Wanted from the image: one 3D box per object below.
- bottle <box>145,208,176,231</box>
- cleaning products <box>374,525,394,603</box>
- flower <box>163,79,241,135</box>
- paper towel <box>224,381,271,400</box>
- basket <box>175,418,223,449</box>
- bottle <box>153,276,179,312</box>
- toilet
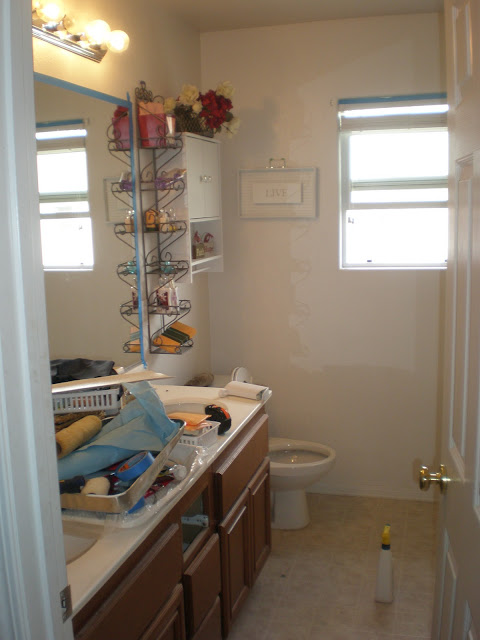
[{"bbox_3d":[-0.364,-0.439,2.306,0.128,0.095,0.061,-3,8,-10],"label":"bottle"},{"bbox_3d":[0.619,1.019,2.252,0.079,0.394,0.236,0,8,15],"label":"cleaning products"},{"bbox_3d":[-0.186,-0.956,2.484,0.299,0.220,0.328,11,21,29],"label":"flower"},{"bbox_3d":[0.027,0.294,2.217,0.126,0.042,0.100,7,13,26],"label":"paper towel"},{"bbox_3d":[-0.140,0.369,1.674,0.119,0.062,0.192,-1,-2,18],"label":"basket"},{"bbox_3d":[-0.339,-0.115,2.377,0.139,0.189,0.132,0,1,0],"label":"bottle"},{"bbox_3d":[0.191,0.790,2.892,0.639,0.651,0.388,2,7,11],"label":"toilet"}]
